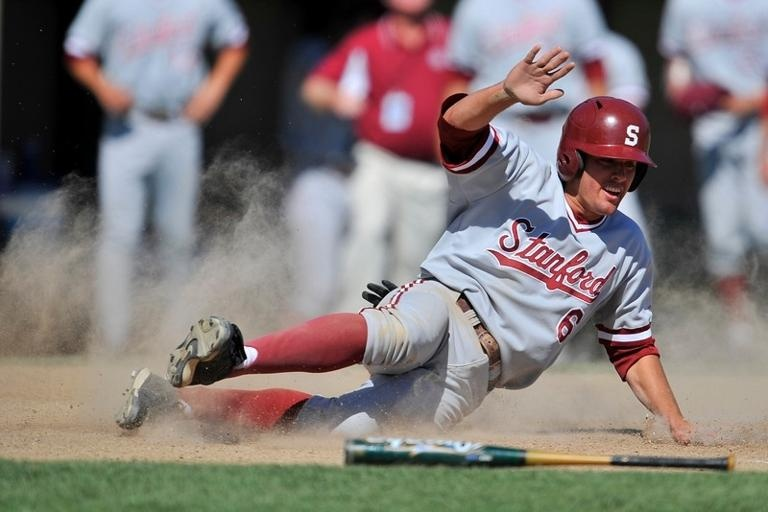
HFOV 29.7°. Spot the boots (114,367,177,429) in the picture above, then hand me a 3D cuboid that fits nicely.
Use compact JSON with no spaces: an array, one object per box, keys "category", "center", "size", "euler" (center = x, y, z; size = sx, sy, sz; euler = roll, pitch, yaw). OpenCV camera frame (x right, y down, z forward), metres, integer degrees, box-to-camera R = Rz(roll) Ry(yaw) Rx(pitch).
[{"category":"boots","center":[-1.692,1.034,10.386],"size":[0.498,0.320,0.189],"euler":[-36,-1,-23]}]

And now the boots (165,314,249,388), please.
[{"category":"boots","center":[-1.208,0.675,9.799],"size":[0.652,0.321,0.334],"euler":[-32,19,21]}]
